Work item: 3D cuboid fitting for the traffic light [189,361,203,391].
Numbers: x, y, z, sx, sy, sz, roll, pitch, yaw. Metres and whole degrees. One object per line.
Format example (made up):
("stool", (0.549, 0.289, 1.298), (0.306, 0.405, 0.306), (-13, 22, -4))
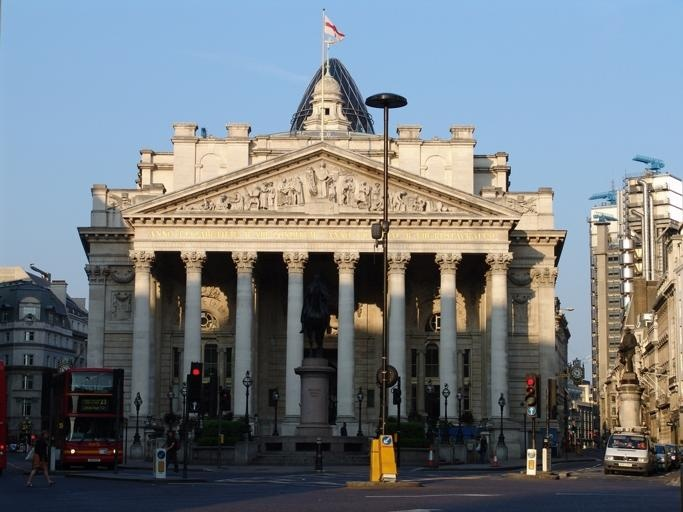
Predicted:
("traffic light", (-10.211, 8.738, 123.972), (0.968, 2.150, 0.879), (-4, -13, 11))

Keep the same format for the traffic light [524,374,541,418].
("traffic light", (12.977, 9.604, 119.488), (0.846, 3.016, 1.389), (-2, -13, 3))
